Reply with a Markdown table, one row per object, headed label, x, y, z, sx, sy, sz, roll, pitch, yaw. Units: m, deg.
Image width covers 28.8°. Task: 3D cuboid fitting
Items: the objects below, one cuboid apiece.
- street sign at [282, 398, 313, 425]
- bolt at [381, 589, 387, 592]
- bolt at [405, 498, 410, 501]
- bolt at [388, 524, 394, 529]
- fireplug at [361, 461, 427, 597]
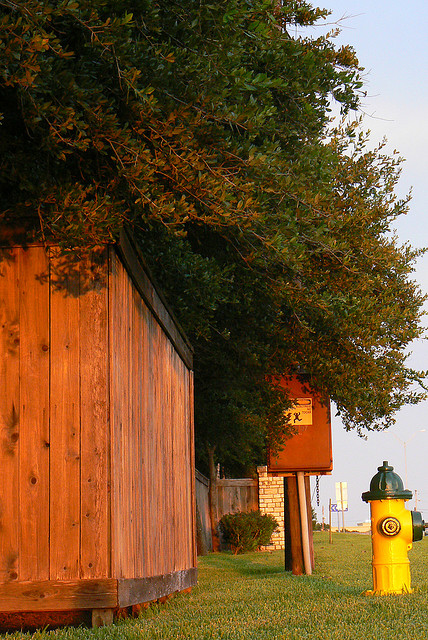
| label | x | y | z | sx | sy | sz | roll | pitch | yaw |
| --- | --- | --- | --- | --- | --- | --- | --- | --- | --- |
| street sign | 0.982 | 1.080 | 9.937 | 0.344 | 0.307 | 0.049 | 1 | -25 | 6 |
| bolt | 1.273 | 2.013 | 6.295 | 0.042 | 0.013 | 0.015 | -6 | -15 | 13 |
| bolt | 1.510 | 1.393 | 6.567 | 0.019 | 0.022 | 0.034 | -10 | -7 | 19 |
| bolt | 1.355 | 1.568 | 6.426 | 0.037 | 0.033 | 0.008 | 0 | -9 | 13 |
| fireplug | 1.362 | 1.577 | 6.475 | 0.525 | 0.985 | 0.370 | -5 | -15 | 7 |
